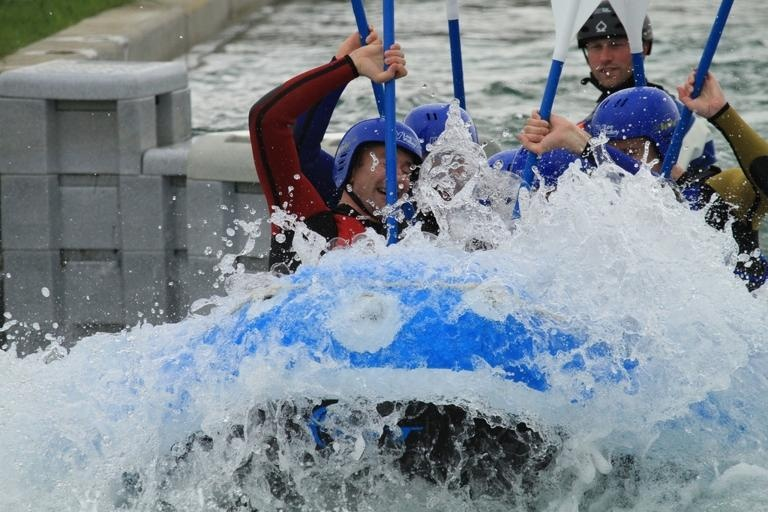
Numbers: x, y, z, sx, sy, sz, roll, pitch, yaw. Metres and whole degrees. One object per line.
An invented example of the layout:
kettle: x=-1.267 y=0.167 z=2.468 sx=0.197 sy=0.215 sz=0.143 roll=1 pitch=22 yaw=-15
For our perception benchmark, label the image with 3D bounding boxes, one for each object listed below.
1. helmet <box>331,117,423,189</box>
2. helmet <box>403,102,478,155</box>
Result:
helmet: x=-0.037 y=-0.628 z=9.056 sx=0.534 sy=0.442 sz=0.378 roll=0 pitch=15 yaw=-3
helmet: x=0.347 y=-0.778 z=9.894 sx=0.395 sy=0.460 sz=0.509 roll=3 pitch=-8 yaw=5
